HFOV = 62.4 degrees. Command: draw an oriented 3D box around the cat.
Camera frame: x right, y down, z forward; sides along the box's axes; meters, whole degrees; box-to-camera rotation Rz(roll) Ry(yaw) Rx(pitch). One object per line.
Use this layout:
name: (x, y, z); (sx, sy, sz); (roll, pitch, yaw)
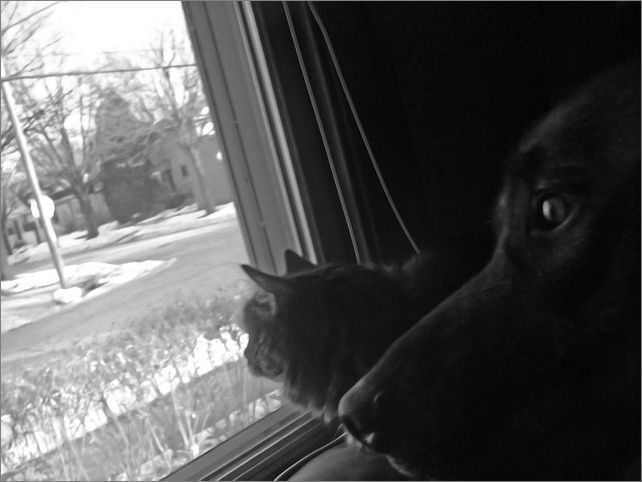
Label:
cat: (0.038, 0.183, 1.376); (0.697, 0.393, 0.301); (-31, 12, 20)
